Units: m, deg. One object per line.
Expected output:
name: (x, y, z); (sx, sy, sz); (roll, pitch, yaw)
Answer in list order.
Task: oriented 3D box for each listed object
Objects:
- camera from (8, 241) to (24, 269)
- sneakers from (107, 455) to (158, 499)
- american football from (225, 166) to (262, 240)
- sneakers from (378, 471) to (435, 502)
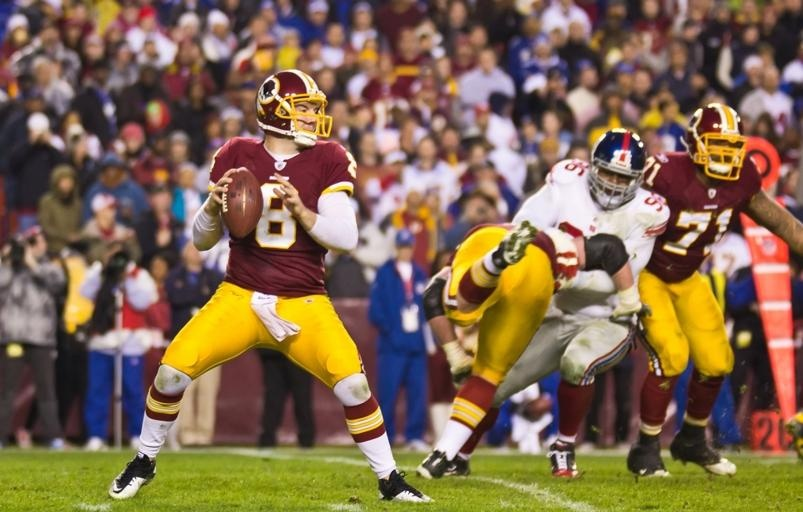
camera: (-4.239, -0.015, 12.459); (0.196, 0.276, 0.091); (6, -1, -8)
sneakers: (-2.213, 1.780, 9.331); (0.205, 0.296, 0.606); (10, 14, 19)
american football: (-1.250, -0.433, 9.123); (0.310, 0.507, 0.303); (0, -6, 13)
sneakers: (0.032, 1.863, 9.281); (0.466, 0.245, 0.190); (4, -4, 11)
